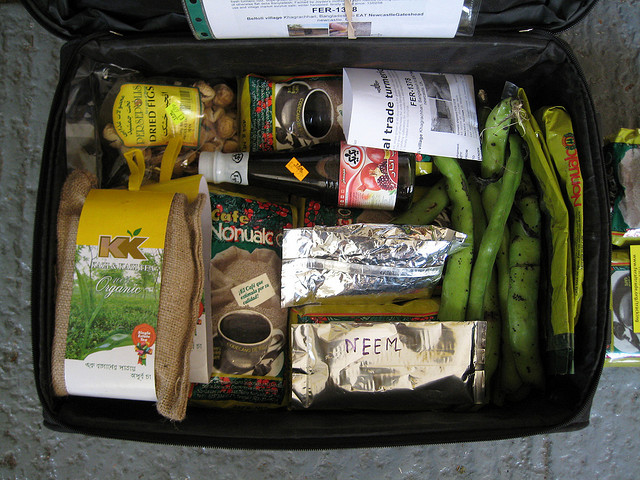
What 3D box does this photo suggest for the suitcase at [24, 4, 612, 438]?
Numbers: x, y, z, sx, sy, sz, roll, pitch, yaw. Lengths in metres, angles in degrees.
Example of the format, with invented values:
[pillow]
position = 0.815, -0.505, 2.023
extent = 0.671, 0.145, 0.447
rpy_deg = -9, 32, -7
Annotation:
[suitcase]
position = -0.002, -0.039, 1.231
extent = 1.156, 0.970, 0.276
rpy_deg = -10, -4, -2

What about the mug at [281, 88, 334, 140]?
[mug]
position = -0.033, -0.252, 1.279
extent = 0.102, 0.093, 0.073
rpy_deg = -2, 20, -20
